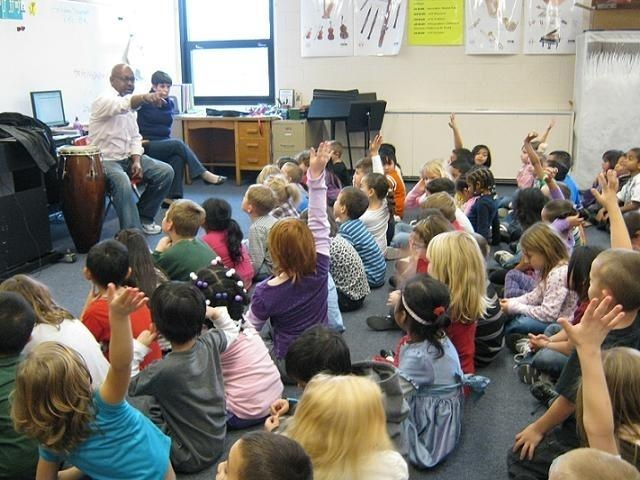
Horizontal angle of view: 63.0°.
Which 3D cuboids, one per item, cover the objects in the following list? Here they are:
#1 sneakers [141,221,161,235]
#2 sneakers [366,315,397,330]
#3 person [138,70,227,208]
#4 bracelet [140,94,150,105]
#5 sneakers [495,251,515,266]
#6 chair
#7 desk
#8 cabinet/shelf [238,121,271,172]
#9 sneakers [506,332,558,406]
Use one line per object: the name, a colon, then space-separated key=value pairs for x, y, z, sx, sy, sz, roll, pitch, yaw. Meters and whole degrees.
sneakers: x=-1.643 y=-0.100 z=5.102 sx=0.203 sy=0.099 sz=0.093 roll=1 pitch=14 yaw=7
sneakers: x=0.384 y=0.513 z=3.256 sx=0.202 sy=0.091 sz=0.080 roll=5 pitch=32 yaw=8
person: x=-1.608 y=-1.130 z=5.924 sx=0.884 sy=1.545 sz=0.867 roll=-2 pitch=9 yaw=2
bracelet: x=-1.597 y=-1.285 z=4.763 sx=0.081 sy=0.121 sz=0.055 roll=1 pitch=0 yaw=-13
sneakers: x=1.467 y=0.149 z=4.120 sx=0.095 sy=0.057 sz=0.148 roll=-13 pitch=20 yaw=-5
chair: x=-2.088 y=-0.639 z=5.144 sx=0.630 sy=0.940 sz=0.589 roll=-1 pitch=23 yaw=-6
desk: x=-1.263 y=-1.283 z=7.432 sx=1.193 sy=0.925 sz=0.748 roll=1 pitch=13 yaw=6
cabinet/shelf: x=-0.941 y=-1.120 z=7.255 sx=0.514 sy=0.740 sz=0.506 roll=-4 pitch=-19 yaw=-1
sneakers: x=1.054 y=0.649 z=2.571 sx=0.109 sy=0.165 sz=0.363 roll=2 pitch=53 yaw=-21
